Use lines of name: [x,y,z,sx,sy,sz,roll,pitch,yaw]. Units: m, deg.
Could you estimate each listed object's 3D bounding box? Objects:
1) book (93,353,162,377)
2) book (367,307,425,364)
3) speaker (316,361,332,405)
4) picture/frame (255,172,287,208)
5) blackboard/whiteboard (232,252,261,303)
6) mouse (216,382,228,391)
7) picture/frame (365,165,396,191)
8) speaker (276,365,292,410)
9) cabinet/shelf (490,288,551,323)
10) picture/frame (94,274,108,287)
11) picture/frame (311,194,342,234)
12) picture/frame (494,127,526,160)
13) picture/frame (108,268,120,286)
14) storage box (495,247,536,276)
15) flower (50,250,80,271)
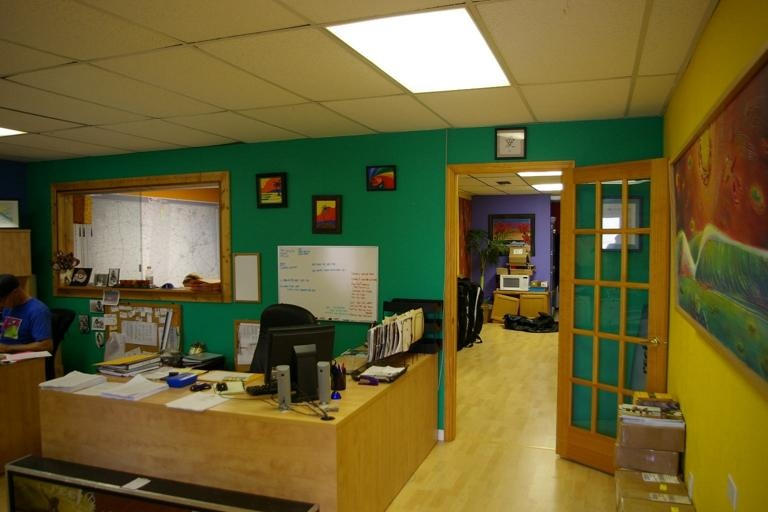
book: [-2.299,0.948,4.670,0.282,0.067,0.280,1,5,22]
book: [0.188,0.683,4.750,0.222,0.323,0.833,-1,4,28]
speaker: [-0.447,0.917,3.893,0.084,0.287,0.121,0,8,-22]
picture/frame: [-1.269,-0.744,5.990,0.410,0.402,0.029,1,0,18]
blackboard/whiteboard: [-1.592,0.237,6.147,0.395,0.554,0.100,7,8,26]
mouse: [-1.276,1.010,4.165,0.076,0.070,0.048,3,-2,2]
picture/frame: [-0.040,-0.817,5.604,0.282,0.229,0.038,2,7,18]
speaker: [-0.745,0.924,3.875,0.114,0.298,0.193,2,7,-11]
cabinet/shelf: [2.863,1.081,11.421,1.181,0.753,0.507,5,7,11]
picture/frame: [-3.661,0.311,6.886,0.168,0.149,0.077,2,2,18]
picture/frame: [-0.631,-0.460,5.807,0.438,0.519,0.037,0,6,14]
picture/frame: [1.229,-1.096,5.210,0.331,0.323,0.024,1,1,13]
picture/frame: [-3.453,0.272,6.765,0.164,0.210,0.156,2,7,-11]
storage box: [2.924,0.122,11.769,0.698,0.520,0.689,1,6,20]
flower: [-4.158,0.045,7.000,0.282,0.266,0.279,1,-3,12]
